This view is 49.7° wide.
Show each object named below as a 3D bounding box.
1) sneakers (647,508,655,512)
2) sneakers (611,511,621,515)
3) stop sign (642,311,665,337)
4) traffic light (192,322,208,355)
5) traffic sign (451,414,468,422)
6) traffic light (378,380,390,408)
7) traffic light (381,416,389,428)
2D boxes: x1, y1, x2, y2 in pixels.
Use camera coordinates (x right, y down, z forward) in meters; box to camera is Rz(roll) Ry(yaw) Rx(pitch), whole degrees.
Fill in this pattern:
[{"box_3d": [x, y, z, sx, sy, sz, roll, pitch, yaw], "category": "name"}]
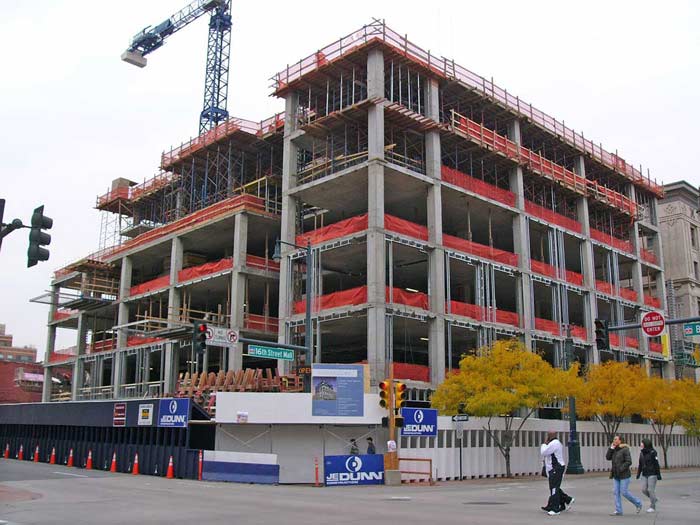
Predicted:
[{"box_3d": [9.750, 7.958, 24.400, 0.248, 0.140, 0.459, -6, -17, 19], "category": "sneakers"}, {"box_3d": [8.339, 7.796, 23.604, 0.221, 0.118, 0.222, -9, -19, 29], "category": "sneakers"}, {"box_3d": [12.507, 2.408, 31.142, 0.937, 1.091, 1.420, -6, -18, 19], "category": "stop sign"}, {"box_3d": [-6.568, 3.190, 33.059, 0.534, 1.416, 0.930, 3, -19, -9], "category": "traffic light"}, {"box_3d": [6.167, 8.700, 42.403, 0.809, 0.421, 1.807, -2, -16, 7], "category": "traffic sign"}, {"box_3d": [1.603, 5.862, 34.148, 0.425, 1.163, 1.017, -2, -18, 7], "category": "traffic light"}, {"box_3d": [1.637, 7.279, 34.813, 0.322, 0.470, 0.724, 1, -17, -1], "category": "traffic light"}]
